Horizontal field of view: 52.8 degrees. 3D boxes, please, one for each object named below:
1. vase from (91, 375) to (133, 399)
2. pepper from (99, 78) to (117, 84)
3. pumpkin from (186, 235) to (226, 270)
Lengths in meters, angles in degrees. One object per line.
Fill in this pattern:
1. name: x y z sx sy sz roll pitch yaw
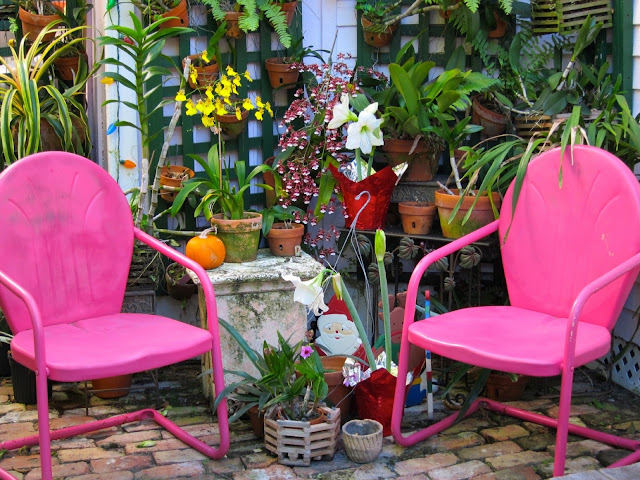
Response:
1. vase: -0.939 0.673 2.969 0.121 0.094 0.127 1 5 6
2. pepper: -0.999 -0.751 3.043 0.045 0.021 0.064 2 2 1
3. pumpkin: -0.504 0.065 2.860 0.139 0.147 0.150 -1 -6 11
